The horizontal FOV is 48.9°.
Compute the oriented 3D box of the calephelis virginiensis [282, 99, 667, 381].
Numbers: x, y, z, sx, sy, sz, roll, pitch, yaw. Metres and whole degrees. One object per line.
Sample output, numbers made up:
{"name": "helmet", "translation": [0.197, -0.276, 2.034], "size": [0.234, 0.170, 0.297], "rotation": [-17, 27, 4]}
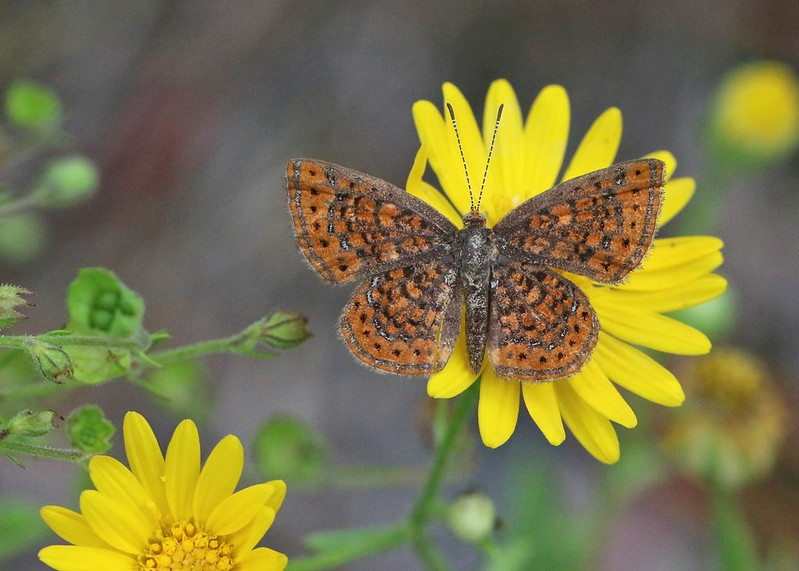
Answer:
{"name": "calephelis virginiensis", "translation": [0.178, -0.076, 1.954], "size": [0.790, 0.227, 0.631], "rotation": [0, 87, 5]}
